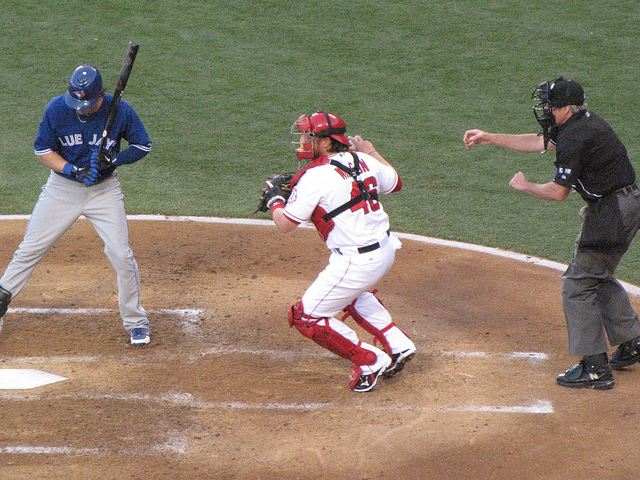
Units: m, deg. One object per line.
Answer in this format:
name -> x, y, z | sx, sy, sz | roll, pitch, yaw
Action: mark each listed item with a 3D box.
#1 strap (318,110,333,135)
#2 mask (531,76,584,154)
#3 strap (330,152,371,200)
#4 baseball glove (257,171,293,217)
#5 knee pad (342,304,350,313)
strap -> 0.098, -1.091, 9.945 | 0.103, 0.200, 0.175 | -14, 16, 7
mask -> 2.231, -1.239, 10.151 | 0.473, 0.598, 0.477 | -18, 32, -25
strap -> 0.275, -0.570, 9.864 | 0.139, 0.166, 0.490 | -38, 88, -36
baseball glove -> -0.372, -0.499, 10.201 | 0.259, 0.109, 0.333 | -1, 4, 28
knee pad -> 0.234, 0.659, 10.271 | 0.086, 0.066, 0.025 | 4, 30, -47
